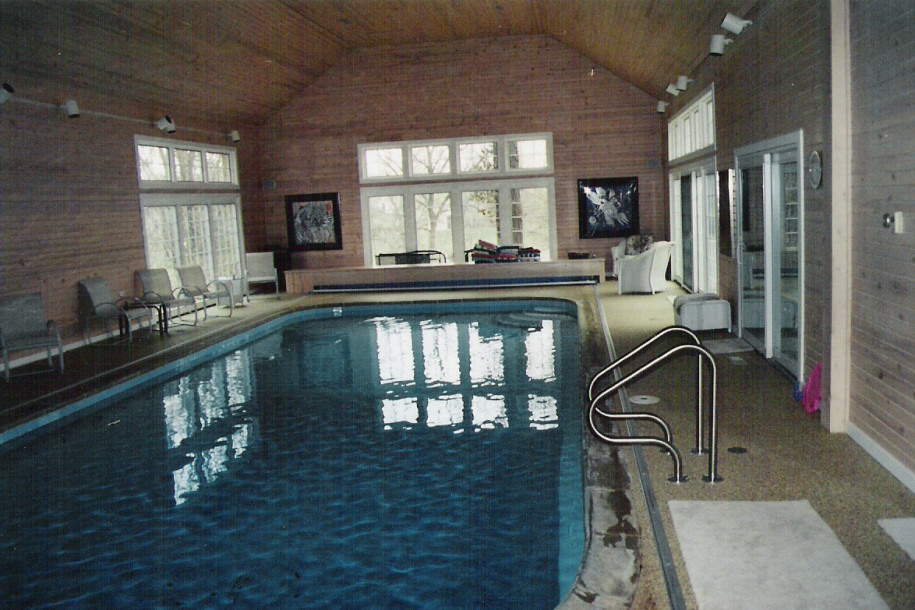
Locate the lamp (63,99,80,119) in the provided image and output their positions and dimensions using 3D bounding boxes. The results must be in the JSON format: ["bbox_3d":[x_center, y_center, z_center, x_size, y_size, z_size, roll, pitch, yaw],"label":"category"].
[{"bbox_3d":[-6.447,-3.307,10.715,0.293,0.124,0.469,-17,55,-19],"label":"lamp"}]

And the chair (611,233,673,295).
[{"bbox_3d":[3.827,-0.750,13.326,1.121,1.060,0.993,2,7,16],"label":"chair"}]
